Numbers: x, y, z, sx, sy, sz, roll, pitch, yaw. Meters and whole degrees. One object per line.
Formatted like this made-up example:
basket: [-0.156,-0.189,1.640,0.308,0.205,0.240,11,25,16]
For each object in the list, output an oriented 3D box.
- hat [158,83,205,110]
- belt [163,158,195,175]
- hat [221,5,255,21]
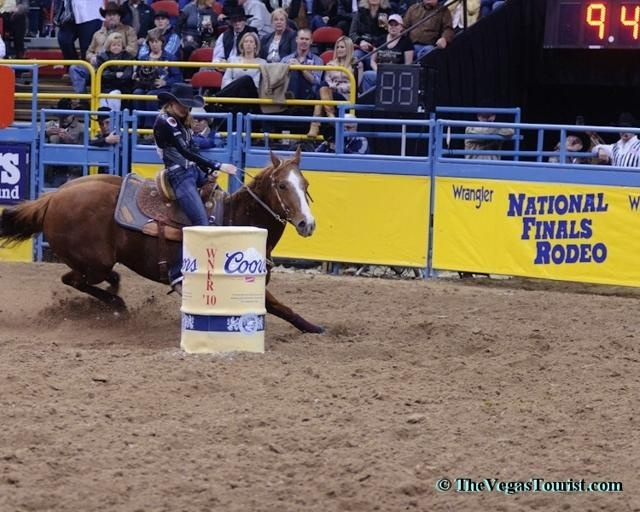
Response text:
hat: [-1.644,-1.870,14.123,0.513,0.215,0.417,6,-2,36]
belt: [-1.617,-1.023,14.251,0.255,0.118,0.182,0,-2,-11]
hat: [-1.470,-4.359,22.169,0.666,0.219,0.545,-2,8,12]
